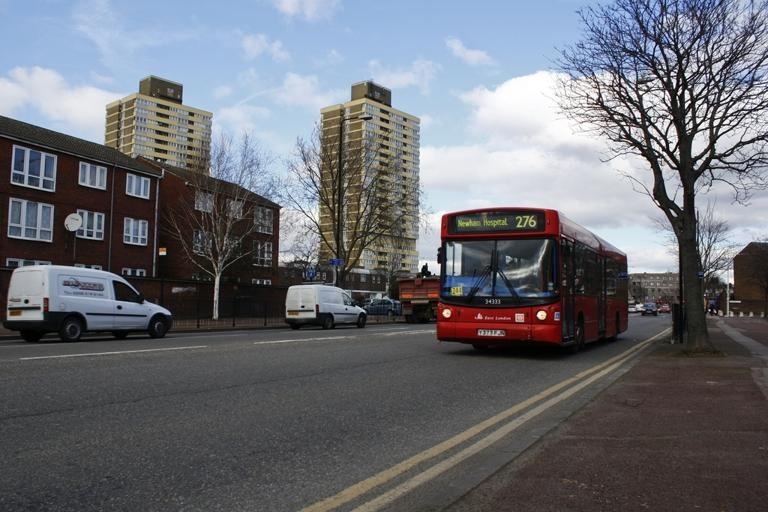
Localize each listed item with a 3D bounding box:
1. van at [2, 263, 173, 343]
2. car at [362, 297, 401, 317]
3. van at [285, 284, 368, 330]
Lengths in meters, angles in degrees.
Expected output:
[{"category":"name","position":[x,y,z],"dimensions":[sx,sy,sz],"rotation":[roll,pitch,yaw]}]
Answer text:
[{"category":"van","position":[-9.629,1.490,21.099],"dimensions":[2.278,1.958,4.214],"rotation":[-4,-2,36]},{"category":"car","position":[-0.102,3.818,47.602],"dimensions":[2.119,1.121,1.430],"rotation":[3,-3,7]},{"category":"van","position":[-2.781,2.413,30.853],"dimensions":[1.901,1.710,3.616],"rotation":[-2,-1,35]}]
